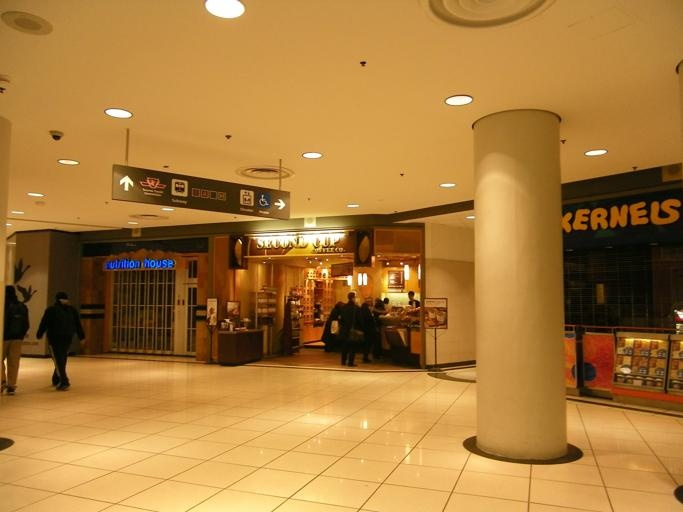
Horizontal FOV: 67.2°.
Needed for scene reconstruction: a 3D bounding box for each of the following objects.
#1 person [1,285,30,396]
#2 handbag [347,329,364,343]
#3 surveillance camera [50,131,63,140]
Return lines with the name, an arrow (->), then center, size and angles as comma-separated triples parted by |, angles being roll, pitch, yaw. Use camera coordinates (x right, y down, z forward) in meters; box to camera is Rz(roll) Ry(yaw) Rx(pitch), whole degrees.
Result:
person -> -5.828, 1.494, 9.147 | 0.364, 1.934, 1.500 | 1, -3, -32
handbag -> 0.309, 1.852, 11.940 | 0.330, 0.254, 0.124 | 6, 18, 6
surveillance camera -> -3.826, -1.614, 6.863 | 0.111, 0.081, 0.117 | -2, -2, 42
